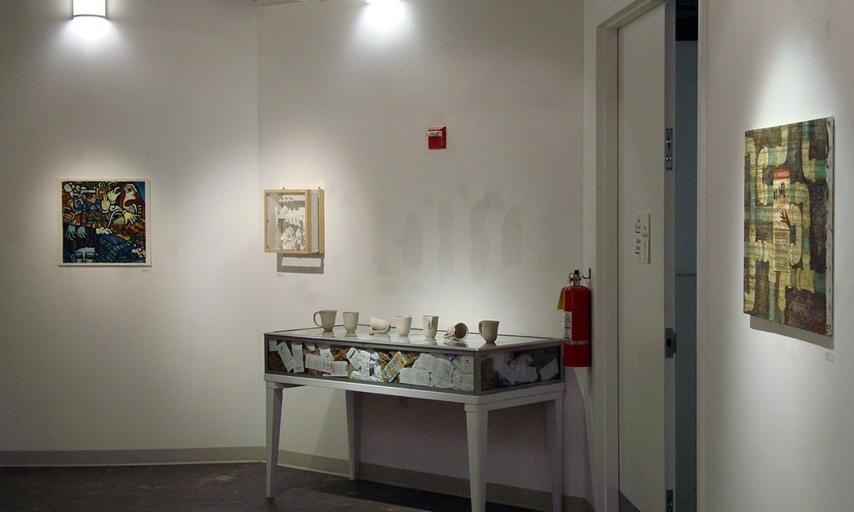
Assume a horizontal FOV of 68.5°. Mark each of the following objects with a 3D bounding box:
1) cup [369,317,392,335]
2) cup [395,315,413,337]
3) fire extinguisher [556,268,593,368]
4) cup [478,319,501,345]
[{"bbox_3d":[-0.385,0.586,5.233,0.140,0.108,0.125,6,0,34],"label":"cup"},{"bbox_3d":[-0.182,0.574,5.084,0.138,0.162,0.143,0,0,0],"label":"cup"},{"bbox_3d":[1.148,0.487,4.824,0.151,0.779,0.223,1,-2,11],"label":"fire extinguisher"},{"bbox_3d":[0.474,0.599,4.886,0.164,0.165,0.143,-3,-2,26],"label":"cup"}]
